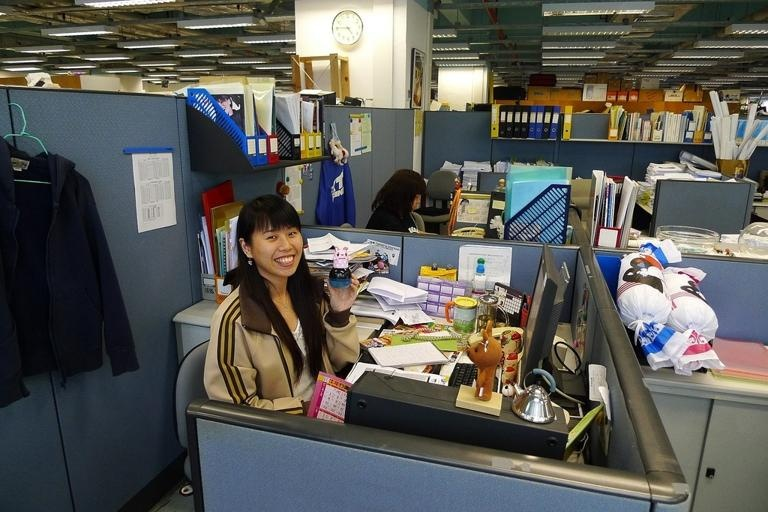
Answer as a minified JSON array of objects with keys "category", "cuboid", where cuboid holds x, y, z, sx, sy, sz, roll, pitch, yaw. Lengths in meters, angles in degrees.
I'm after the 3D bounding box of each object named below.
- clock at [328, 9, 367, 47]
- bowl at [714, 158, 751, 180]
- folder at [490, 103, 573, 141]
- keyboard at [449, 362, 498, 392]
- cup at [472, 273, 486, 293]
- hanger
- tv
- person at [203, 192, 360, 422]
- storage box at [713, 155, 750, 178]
[{"category":"clock","cuboid":[-0.499,-2.803,6.530,0.526,0.129,0.528,-42,-2,17]},{"category":"bowl","cuboid":[3.455,-0.870,5.160,0.233,0.185,0.260,2,4,17]},{"category":"folder","cuboid":[1.972,-1.811,7.062,1.022,0.459,0.248,3,14,12]},{"category":"keyboard","cuboid":[0.393,0.580,2.459,0.130,0.031,0.186,-5,28,14]},{"category":"cup","cuboid":[0.533,0.145,2.916,0.064,0.102,0.065,0,13,0]},{"category":"hanger","cuboid":[-1.551,-0.489,2.273,0.145,0.352,0.097,-9,16,-32]},{"category":"tv","cuboid":[0.712,0.291,2.343,0.158,0.489,0.488,14,27,11]},{"category":"person","cuboid":[-0.462,0.209,2.320,0.444,0.932,0.686,8,16,32]},{"category":"storage box","cuboid":[3.469,-0.876,5.186,0.221,0.176,0.251,1,5,9]}]
